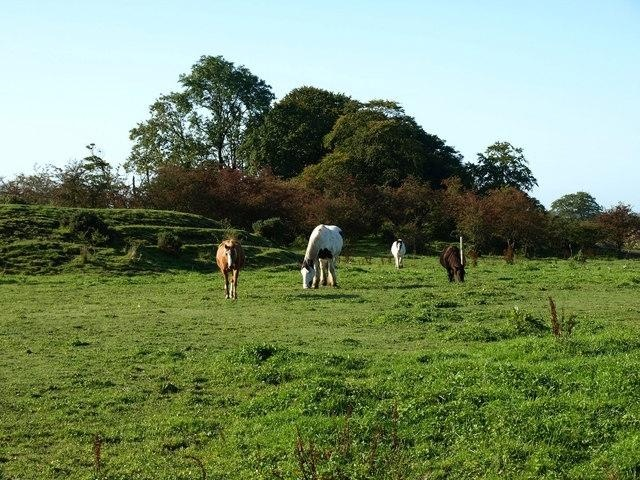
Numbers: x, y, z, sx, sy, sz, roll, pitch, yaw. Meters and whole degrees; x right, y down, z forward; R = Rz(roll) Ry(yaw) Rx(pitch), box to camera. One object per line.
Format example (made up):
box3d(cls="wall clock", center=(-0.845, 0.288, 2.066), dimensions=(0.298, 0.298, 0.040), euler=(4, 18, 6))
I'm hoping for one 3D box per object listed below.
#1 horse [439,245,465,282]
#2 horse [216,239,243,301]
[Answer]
box3d(cls="horse", center=(5.612, 1.091, 28.794), dimensions=(0.701, 1.408, 2.651), euler=(-2, 10, -3))
box3d(cls="horse", center=(-3.163, 0.951, 23.894), dimensions=(0.732, 2.086, 2.958), euler=(0, 7, -5))
